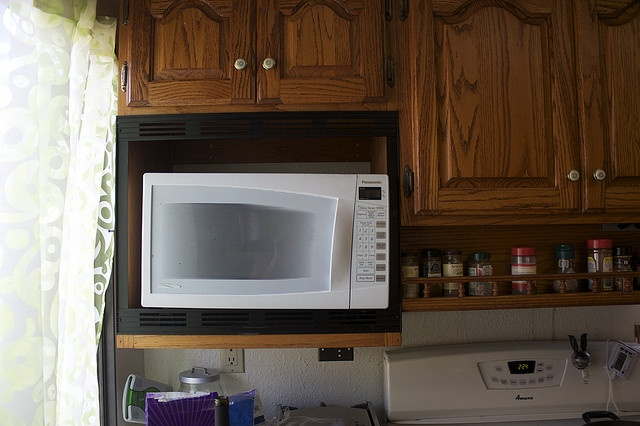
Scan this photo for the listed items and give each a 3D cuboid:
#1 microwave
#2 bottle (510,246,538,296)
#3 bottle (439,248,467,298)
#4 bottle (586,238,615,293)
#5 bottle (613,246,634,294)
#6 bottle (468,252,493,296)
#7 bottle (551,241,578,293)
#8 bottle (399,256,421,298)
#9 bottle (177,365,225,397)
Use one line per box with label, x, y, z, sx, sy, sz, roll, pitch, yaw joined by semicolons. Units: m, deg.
microwave;-0.178;0.106;1.952;0.809;0.449;0.474;0;-6;2
bottle;0.728;0.206;2.097;0.083;0.166;0.175;-2;-2;17
bottle;0.468;0.213;2.072;0.070;0.162;0.117;-1;-2;11
bottle;1.018;0.188;2.132;0.085;0.184;0.137;-2;-2;23
bottle;1.097;0.202;2.126;0.063;0.156;0.194;-2;-2;28
bottle;0.572;0.217;2.101;0.085;0.148;0.144;-1;-2;14
bottle;0.904;0.204;2.169;0.084;0.174;0.294;-2;-2;24
bottle;0.320;0.223;2.069;0.061;0.148;0.135;-1;-2;9
bottle;-0.428;0.624;2.147;0.130;0.104;0.140;-1;-2;0
